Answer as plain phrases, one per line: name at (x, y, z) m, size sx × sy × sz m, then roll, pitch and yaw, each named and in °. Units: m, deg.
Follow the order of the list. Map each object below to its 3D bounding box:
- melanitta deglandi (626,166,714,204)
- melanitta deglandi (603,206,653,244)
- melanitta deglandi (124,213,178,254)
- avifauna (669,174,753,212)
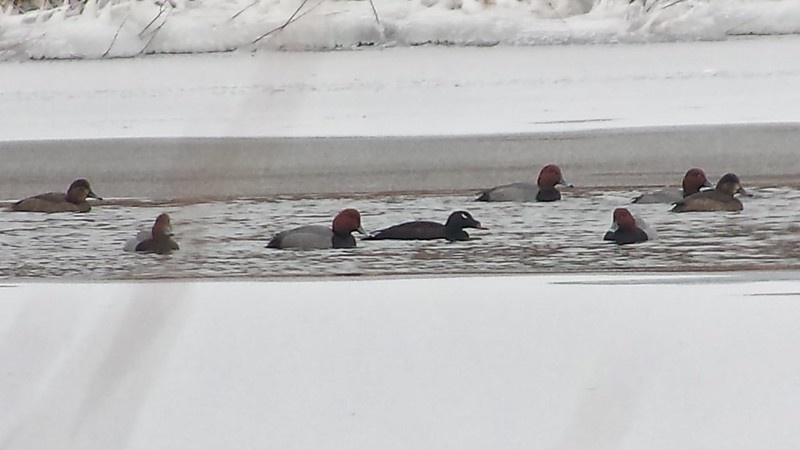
melanitta deglandi at (4.226, -0.572, 20.317) m, size 1.590 × 0.552 × 0.422 m, roll -8°, pitch 2°, yaw 29°
melanitta deglandi at (3.268, 0.033, 18.565) m, size 0.595 × 0.262 × 0.696 m, roll -1°, pitch 9°, yaw -10°
melanitta deglandi at (-3.532, 0.222, 18.476) m, size 0.650 × 0.645 × 0.401 m, roll -11°, pitch -24°, yaw 27°
avifauna at (4.633, -0.489, 19.726) m, size 1.493 × 0.537 × 0.689 m, roll -11°, pitch 24°, yaw -2°
